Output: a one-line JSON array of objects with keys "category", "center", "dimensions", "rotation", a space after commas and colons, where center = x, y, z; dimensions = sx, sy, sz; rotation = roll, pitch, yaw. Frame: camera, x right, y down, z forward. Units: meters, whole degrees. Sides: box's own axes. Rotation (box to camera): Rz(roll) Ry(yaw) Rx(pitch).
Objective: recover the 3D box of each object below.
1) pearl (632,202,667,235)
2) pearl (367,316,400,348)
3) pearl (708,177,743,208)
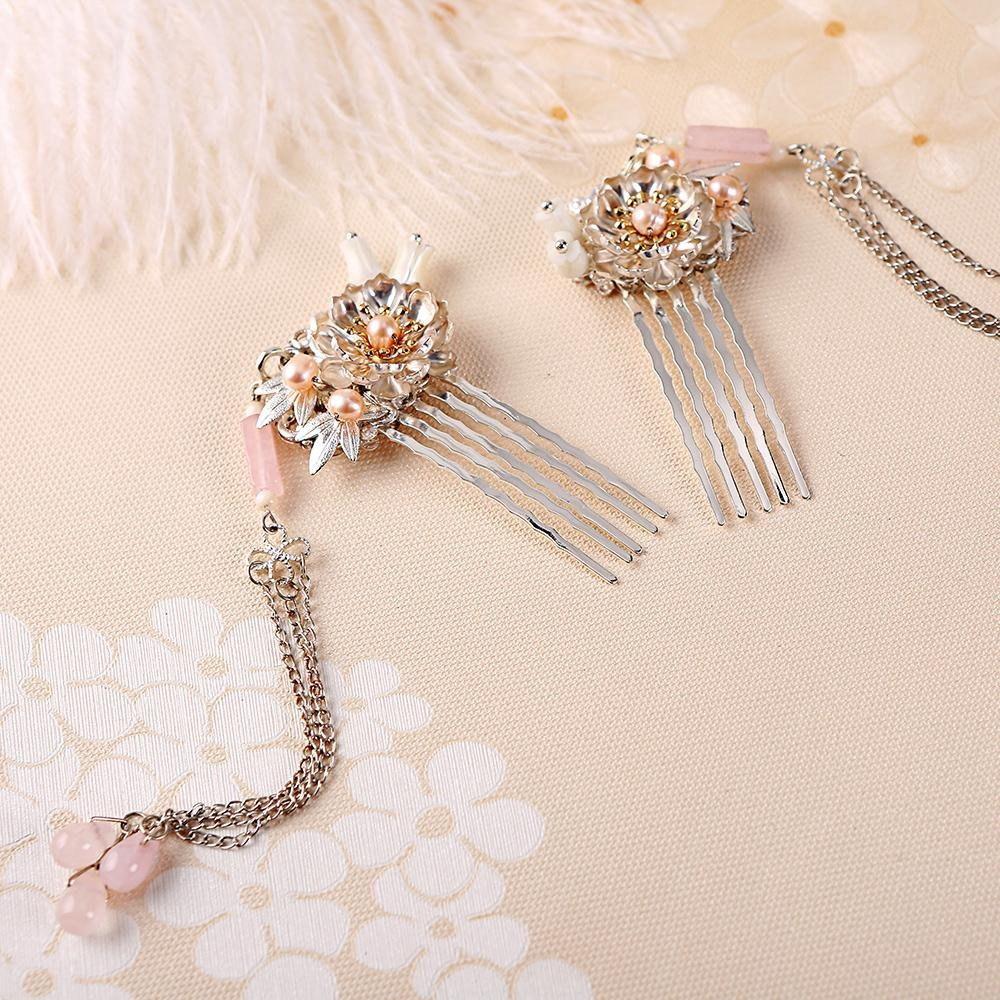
[{"category": "pearl", "center": [0.237, -0.447, 1.859], "dimensions": [0.063, 0.030, 0.045], "rotation": [-11, 91, 5]}, {"category": "pearl", "center": [-0.181, -0.262, 1.827], "dimensions": [0.064, 0.053, 0.052], "rotation": [0, 95, 2]}, {"category": "pearl", "center": [0.364, -0.496, 1.883], "dimensions": [0.055, 0.029, 0.045], "rotation": [-4, 80, -2]}]
